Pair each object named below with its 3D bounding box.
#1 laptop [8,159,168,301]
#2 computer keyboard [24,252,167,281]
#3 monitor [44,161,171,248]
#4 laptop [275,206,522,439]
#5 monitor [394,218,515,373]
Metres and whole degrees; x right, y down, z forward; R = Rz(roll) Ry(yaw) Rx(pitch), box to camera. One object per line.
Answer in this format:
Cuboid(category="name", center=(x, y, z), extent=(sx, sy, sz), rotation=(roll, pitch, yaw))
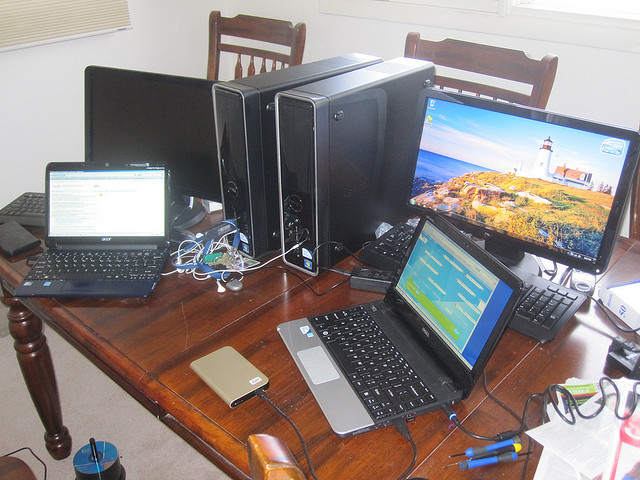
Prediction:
Cuboid(category="laptop", center=(-0.615, -0.045, 1.338), extent=(0.348, 0.261, 0.293), rotation=(0, 26, -11))
Cuboid(category="computer keyboard", center=(-0.632, 0.077, 1.364), extent=(0.359, 0.043, 0.101), rotation=(2, 24, -1))
Cuboid(category="monitor", center=(-0.624, -0.094, 1.422), extent=(0.363, 0.259, 0.091), rotation=(1, 23, -2))
Cuboid(category="laptop", center=(0.148, 0.166, 1.071), extent=(0.420, 0.351, 0.325), rotation=(-6, 25, -18))
Cuboid(category="monitor", center=(0.290, 0.119, 1.099), extent=(0.077, 0.223, 0.296), rotation=(-9, 26, -24))
